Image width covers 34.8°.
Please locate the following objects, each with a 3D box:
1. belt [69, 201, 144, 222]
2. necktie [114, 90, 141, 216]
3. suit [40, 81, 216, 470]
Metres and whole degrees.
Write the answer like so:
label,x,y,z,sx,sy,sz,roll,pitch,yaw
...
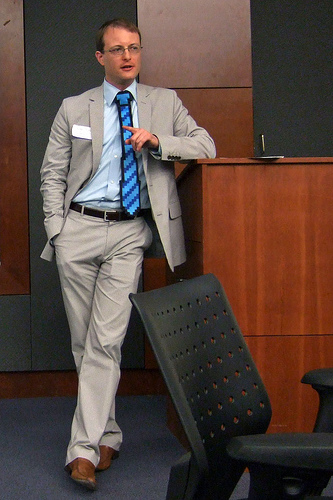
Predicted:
label,x,y,z,sx,sy,sz,roll,pitch,yaw
belt,-0.236,-0.166,2.066,0.252,0.079,0.191,-2,11,-19
necktie,-0.155,-0.371,2.047,0.087,0.485,0.039,-3,-6,-35
suit,-0.214,-0.011,2.470,1.033,2.185,0.395,0,-1,-4
